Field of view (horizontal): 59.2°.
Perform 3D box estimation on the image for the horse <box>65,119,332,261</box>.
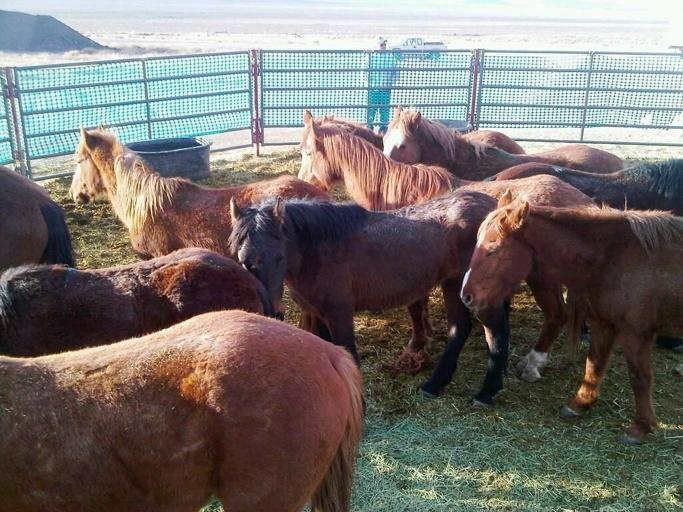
[{"bbox_3d":[-1.609,-0.606,5.844,2.552,1.227,0.839,9,17,31],"label":"horse"}]
